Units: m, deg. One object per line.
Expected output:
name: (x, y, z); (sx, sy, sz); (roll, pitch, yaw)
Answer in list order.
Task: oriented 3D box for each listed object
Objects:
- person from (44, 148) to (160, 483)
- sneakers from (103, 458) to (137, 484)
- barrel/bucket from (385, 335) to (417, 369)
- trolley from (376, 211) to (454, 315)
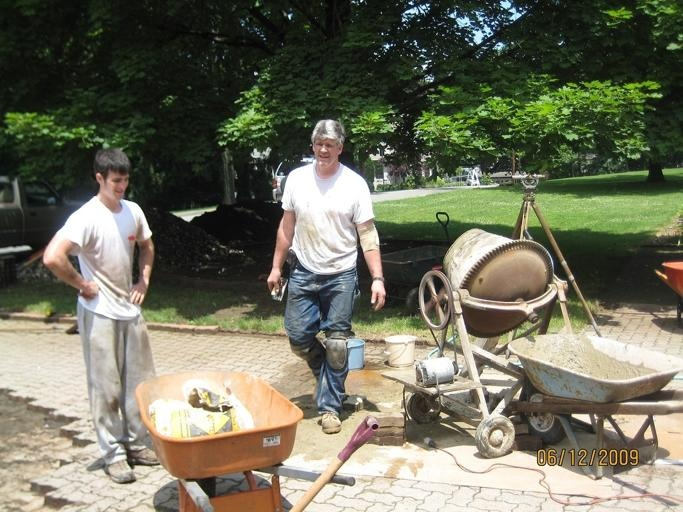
person: (-2.189, 0.775, 6.158); (1.027, 2.635, 0.680); (-8, 9, -36)
sneakers: (-2.075, 2.008, 6.083); (0.343, 0.143, 0.147); (-3, -1, 44)
barrel/bucket: (0.779, 1.238, 8.458); (0.401, 0.285, 0.392); (0, 0, 0)
trolley: (1.602, 0.162, 11.262); (1.327, 1.276, 0.984); (-26, 6, -10)
